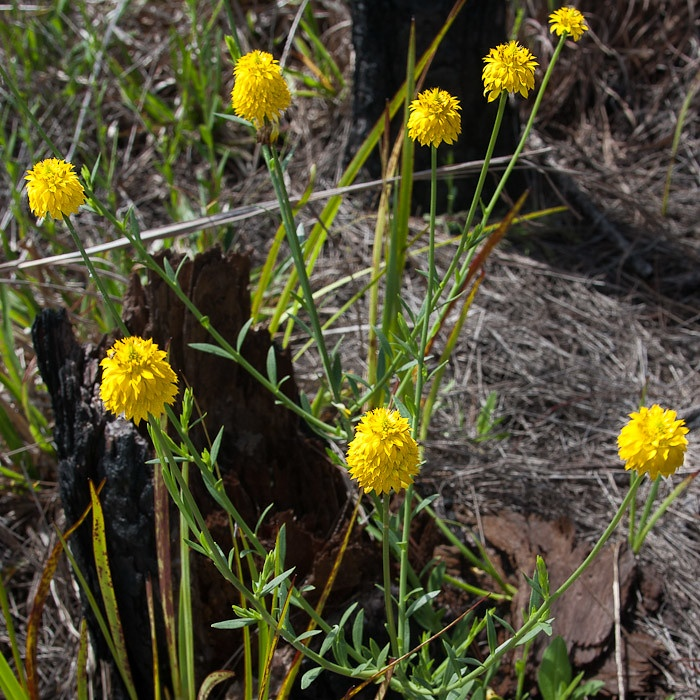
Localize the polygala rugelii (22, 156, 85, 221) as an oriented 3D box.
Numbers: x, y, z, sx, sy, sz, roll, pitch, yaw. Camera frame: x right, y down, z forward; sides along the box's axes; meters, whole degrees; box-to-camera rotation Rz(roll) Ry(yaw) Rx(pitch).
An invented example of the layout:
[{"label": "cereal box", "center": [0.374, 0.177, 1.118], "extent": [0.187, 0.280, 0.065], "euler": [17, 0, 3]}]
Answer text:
[{"label": "polygala rugelii", "center": [-0.427, -0.210, 1.089], "extent": [0.074, 0.048, 0.096], "euler": [14, 79, -1]}]

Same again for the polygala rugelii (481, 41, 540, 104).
[{"label": "polygala rugelii", "center": [0.244, -0.425, 1.131], "extent": [0.090, 0.063, 0.100], "euler": [16, 13, 18]}]

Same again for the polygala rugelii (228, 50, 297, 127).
[{"label": "polygala rugelii", "center": [-0.136, -0.408, 1.202], "extent": [0.090, 0.117, 0.124], "euler": [0, 11, -5]}]

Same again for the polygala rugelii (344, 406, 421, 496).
[{"label": "polygala rugelii", "center": [0.048, 0.143, 1.014], "extent": [0.093, 0.107, 0.125], "euler": [8, 90, -23]}]
